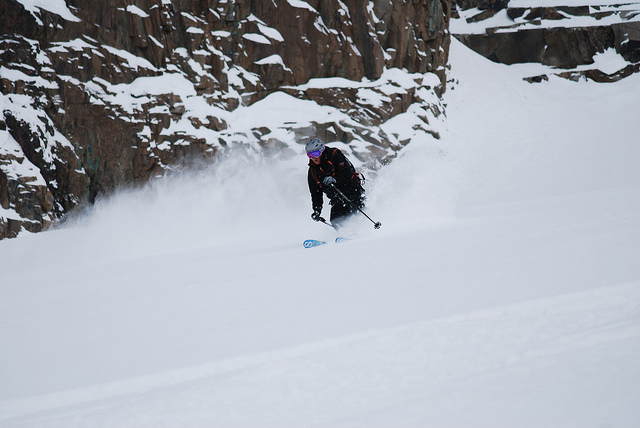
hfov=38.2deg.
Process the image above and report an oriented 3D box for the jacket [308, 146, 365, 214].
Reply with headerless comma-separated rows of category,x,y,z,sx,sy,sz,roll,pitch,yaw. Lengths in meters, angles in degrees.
jacket,0.372,-1.164,28.263,1.110,2.377,0.844,8,14,33
